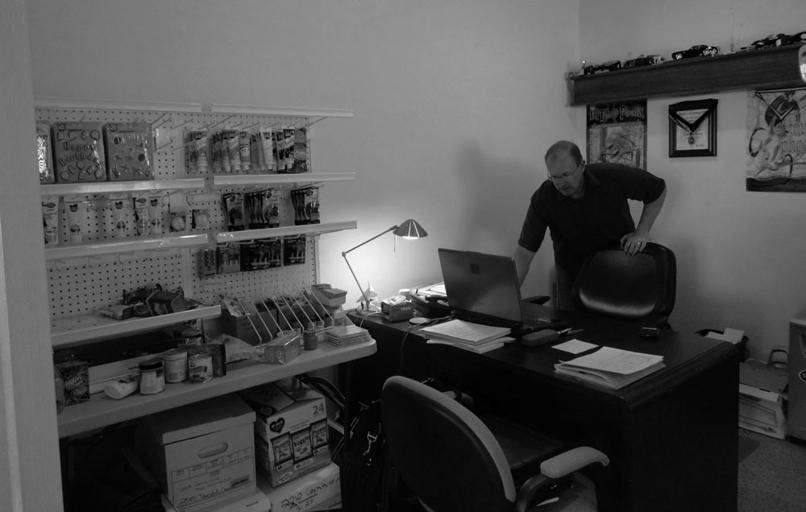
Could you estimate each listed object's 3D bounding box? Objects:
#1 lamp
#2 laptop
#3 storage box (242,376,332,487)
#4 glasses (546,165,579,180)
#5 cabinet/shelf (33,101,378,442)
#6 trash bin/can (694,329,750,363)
[{"bbox_3d":[-0.146,0.034,3.871,0.554,0.633,0.238,-7,35,-14],"label":"lamp"},{"bbox_3d":[0.545,0.128,3.433,0.505,0.380,0.556,-13,17,-38],"label":"laptop"},{"bbox_3d":[-0.634,0.834,3.319,0.432,0.553,0.565,-10,12,-33],"label":"storage box"},{"bbox_3d":[1.067,-0.559,3.859,0.111,0.033,0.116,-6,10,44],"label":"glasses"},{"bbox_3d":[-1.064,0.093,3.075,0.638,1.623,1.995,5,9,44],"label":"cabinet/shelf"},{"bbox_3d":[2.429,0.678,4.358,0.401,0.235,0.403,0,-6,-23],"label":"trash bin/can"}]
